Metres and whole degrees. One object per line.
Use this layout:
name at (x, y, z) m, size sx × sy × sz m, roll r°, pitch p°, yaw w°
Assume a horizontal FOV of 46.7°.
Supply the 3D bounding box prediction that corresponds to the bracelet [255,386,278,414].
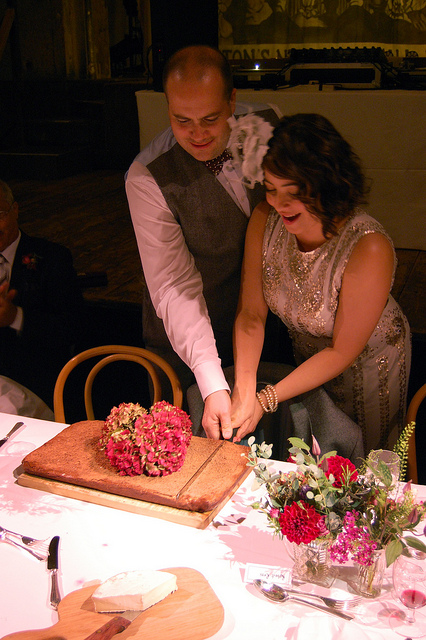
bracelet at (0.148, 0.229, 1.436) m, size 0.028 × 0.074 × 0.061 m, roll -18°, pitch 5°, yaw 3°

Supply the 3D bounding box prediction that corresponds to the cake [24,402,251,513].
cake at (-0.164, 0.275, 1.051) m, size 0.376 × 0.130 × 0.235 m, roll 5°, pitch 20°, yaw 24°

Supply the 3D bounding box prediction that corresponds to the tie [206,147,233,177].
tie at (0.023, -0.524, 1.655) m, size 0.090 × 0.094 × 0.044 m, roll 17°, pitch 27°, yaw 39°

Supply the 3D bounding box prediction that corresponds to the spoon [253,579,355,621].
spoon at (0.132, 0.434, 0.758) m, size 0.162 × 0.019 × 0.031 m, roll 9°, pitch 23°, yaw 25°
